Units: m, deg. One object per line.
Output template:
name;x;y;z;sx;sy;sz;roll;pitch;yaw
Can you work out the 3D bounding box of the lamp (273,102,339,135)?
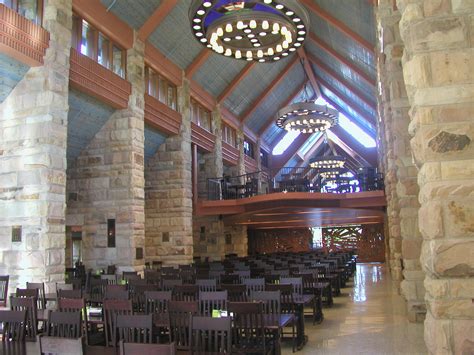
lamp;2.922;-2.538;19.042;2.489;0.569;2.968;-3;-13;2
